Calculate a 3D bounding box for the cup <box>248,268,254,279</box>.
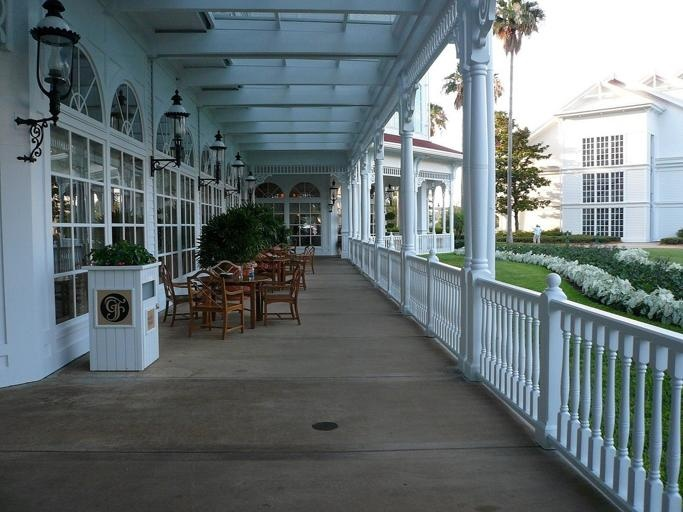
[{"bbox_3d":[-1.383,0.269,8.129,0.121,0.211,0.126,0,-2,0],"label":"cup"}]
